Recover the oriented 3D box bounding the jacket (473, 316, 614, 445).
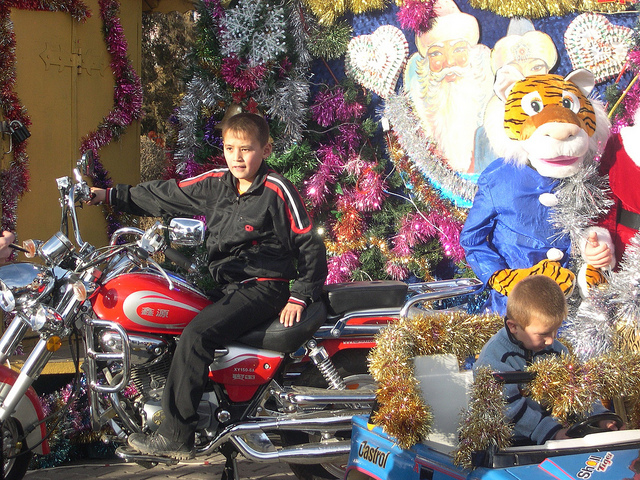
[{"bbox_3d":[1.068,0.738,3.399,0.590,0.652,0.220,-32,-17,19],"label":"jacket"}]

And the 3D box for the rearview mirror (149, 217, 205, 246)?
[{"bbox_3d":[-0.828,-0.054,3.815,0.192,0.177,0.268,8,12,41],"label":"rearview mirror"}]

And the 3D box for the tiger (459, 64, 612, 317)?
[{"bbox_3d":[1.550,0.087,4.780,1.012,2.538,1.062,0,18,11],"label":"tiger"}]

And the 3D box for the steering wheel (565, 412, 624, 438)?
[{"bbox_3d":[1.283,0.874,3.112,0.164,0.071,0.170,-11,-21,-4],"label":"steering wheel"}]

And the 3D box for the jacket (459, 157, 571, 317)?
[{"bbox_3d":[1.287,0.018,4.540,0.775,1.013,0.332,-2,-5,9],"label":"jacket"}]

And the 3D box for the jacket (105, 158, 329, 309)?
[{"bbox_3d":[-0.651,-0.051,4.304,1.463,0.654,1.003,18,8,37],"label":"jacket"}]

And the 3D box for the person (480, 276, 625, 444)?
[{"bbox_3d":[1.132,0.607,3.334,0.612,0.785,0.725,-6,17,-13],"label":"person"}]
